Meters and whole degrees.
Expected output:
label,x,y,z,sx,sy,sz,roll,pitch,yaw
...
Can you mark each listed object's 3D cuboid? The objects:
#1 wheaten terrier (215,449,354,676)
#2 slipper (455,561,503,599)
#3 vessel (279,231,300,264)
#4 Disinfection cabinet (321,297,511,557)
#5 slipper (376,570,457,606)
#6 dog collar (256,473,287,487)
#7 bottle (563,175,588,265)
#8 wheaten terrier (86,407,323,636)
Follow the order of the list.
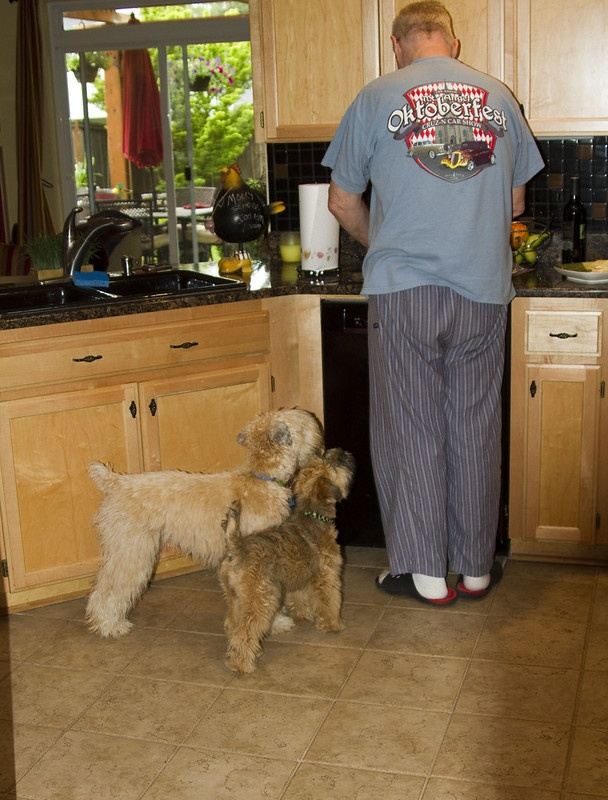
label,x,y,z,sx,sy,sz,roll,pitch,yaw
wheaten terrier,-0.051,0.425,1.942,0.414,0.549,0.289,-5,6,-19
slipper,0.586,0.599,2.269,0.077,0.048,0.168,-1,27,30
vessel,-0.056,-0.658,2.966,0.129,0.124,0.126,5,15,16
Disinfection cabinet,0.392,0.037,2.746,0.668,0.937,0.471,2,17,10
slipper,0.363,0.604,2.226,0.247,0.069,0.097,10,15,39
dog collar,-0.087,0.217,1.851,0.084,0.043,0.025,-4,6,-11
bottle,1.060,-0.704,2.699,0.083,0.327,0.159,-1,6,20
wheaten terrier,-0.290,0.348,2.091,0.599,0.688,0.615,-11,22,-35
